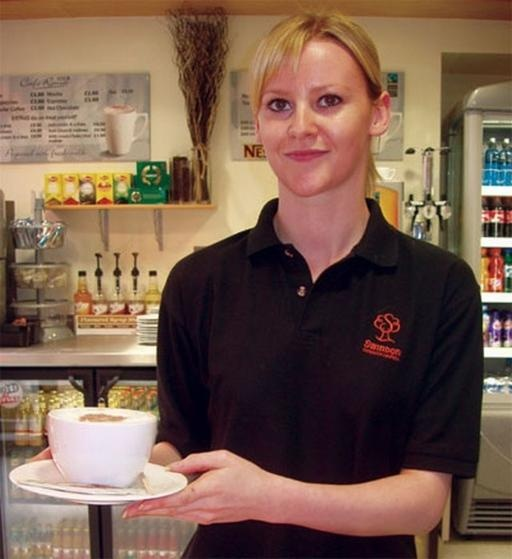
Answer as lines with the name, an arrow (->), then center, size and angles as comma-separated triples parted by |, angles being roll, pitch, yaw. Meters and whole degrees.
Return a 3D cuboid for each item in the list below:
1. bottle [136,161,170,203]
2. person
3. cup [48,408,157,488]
bottle -> -0.518, -0.483, 2.974 | 0.208, 0.233, 0.031 | -2, 6, -1
person -> 0.098, -0.016, 1.060 | 0.628, 0.889, 0.397 | -2, 5, -6
cup -> -0.249, 0.259, 0.960 | 0.187, 0.128, 0.179 | 8, 7, -1
